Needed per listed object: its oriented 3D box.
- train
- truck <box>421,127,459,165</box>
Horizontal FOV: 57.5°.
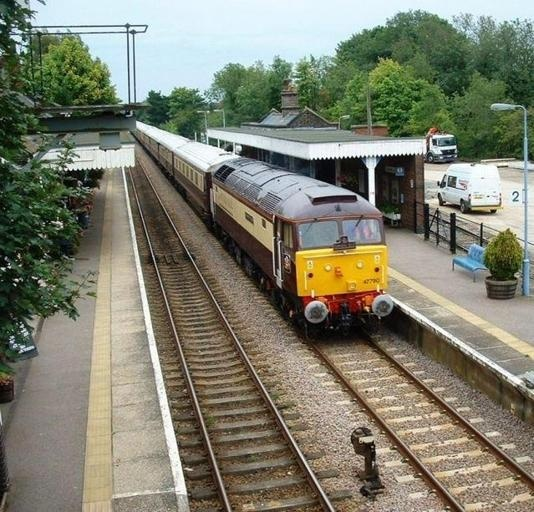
[{"bbox_3d":[-7.095,-7.196,41.609,3.123,9.429,64.852,-5,10,-16],"label":"train"},{"bbox_3d":[20.140,-12.752,56.110,3.183,4.009,3.241,1,11,15],"label":"truck"}]
